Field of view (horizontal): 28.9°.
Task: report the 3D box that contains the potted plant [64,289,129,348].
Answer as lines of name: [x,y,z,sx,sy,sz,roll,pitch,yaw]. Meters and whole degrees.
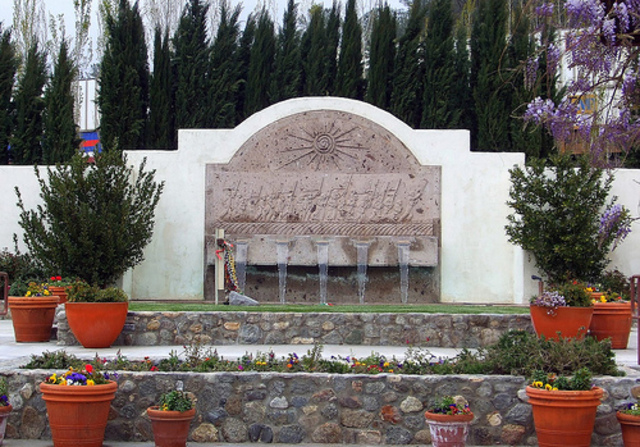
potted plant: [-5.056,2.169,28.295,1.286,1.135,1.195,3,-4,-39]

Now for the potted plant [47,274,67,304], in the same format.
potted plant: [-6.496,1.636,30.663,0.608,0.869,0.713,0,-1,3]

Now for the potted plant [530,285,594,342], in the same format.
potted plant: [5.422,2.294,27.695,1.383,1.866,1.565,2,-5,5]

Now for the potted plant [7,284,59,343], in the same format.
potted plant: [-6.879,2.189,29.935,1.064,1.362,1.187,0,-5,-3]

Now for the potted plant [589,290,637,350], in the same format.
potted plant: [6.788,2.262,28.860,1.181,1.075,1.219,3,-5,-34]
